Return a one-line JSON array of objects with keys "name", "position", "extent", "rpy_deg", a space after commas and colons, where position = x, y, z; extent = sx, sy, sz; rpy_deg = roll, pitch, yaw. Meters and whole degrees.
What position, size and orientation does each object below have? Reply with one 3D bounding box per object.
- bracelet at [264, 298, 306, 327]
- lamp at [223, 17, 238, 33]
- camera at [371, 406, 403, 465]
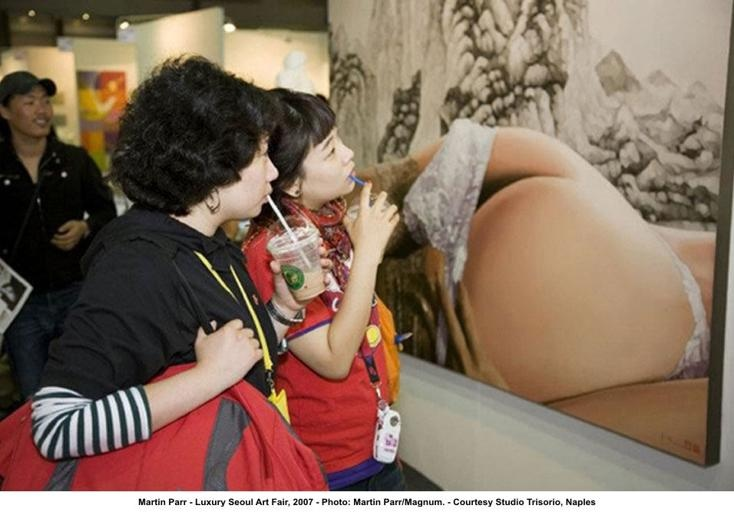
[{"name": "bracelet", "position": [-0.229, 0.157, 1.651], "extent": [0.089, 0.024, 0.085], "rpy_deg": [14, 40, -49]}, {"name": "lamp", "position": [-0.983, -1.669, 4.038], "extent": [0.086, 0.103, 0.056], "rpy_deg": [-2, 12, -15]}, {"name": "camera", "position": [0.071, 0.611, 1.900], "extent": [0.094, 0.180, 0.059], "rpy_deg": [5, 2, -12]}]
